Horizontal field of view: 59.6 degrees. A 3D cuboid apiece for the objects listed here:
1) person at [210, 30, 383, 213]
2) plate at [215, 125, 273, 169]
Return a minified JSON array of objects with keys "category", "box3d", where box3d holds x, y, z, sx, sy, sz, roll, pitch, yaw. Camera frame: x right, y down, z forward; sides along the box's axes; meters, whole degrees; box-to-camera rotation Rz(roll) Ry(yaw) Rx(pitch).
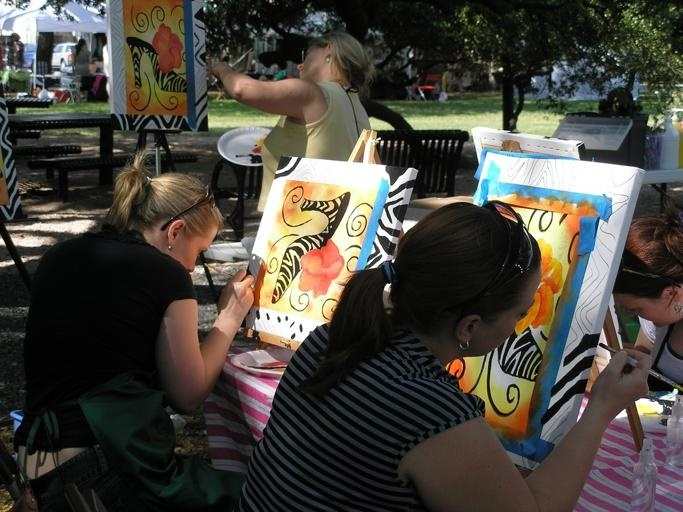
[{"category":"person","box3d":[-0.195,-0.700,3.061,0.805,0.949,0.536,0,8,-14]},{"category":"plate","box3d":[-1.156,-1.277,7.015,0.732,0.086,0.768,-27,57,-23]}]
